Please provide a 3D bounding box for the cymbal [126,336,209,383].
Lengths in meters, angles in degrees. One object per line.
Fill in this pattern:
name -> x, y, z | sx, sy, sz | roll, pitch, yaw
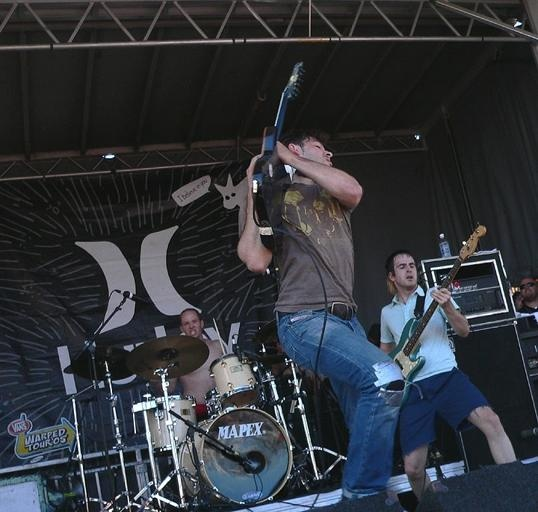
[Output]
cymbal -> -0.822, 0.771, 4.435 | 0.557, 0.439, 0.504 | 2, -3, -32

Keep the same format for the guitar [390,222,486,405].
guitar -> 0.921, 0.383, 3.244 | 0.188, 1.333, 0.478 | 9, 33, -11

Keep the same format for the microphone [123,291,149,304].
microphone -> -1.240, 0.386, 5.133 | 0.334, 0.074, 0.091 | 22, 16, 33

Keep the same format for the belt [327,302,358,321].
belt -> 0.296, 0.219, 2.207 | 0.068, 0.038, 0.094 | 13, -3, -29

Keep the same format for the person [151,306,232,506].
person -> -0.675, 1.116, 5.210 | 0.514, 1.265, 0.459 | 1, -5, -16

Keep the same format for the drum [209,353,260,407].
drum -> -0.254, 0.949, 4.333 | 0.311, 0.456, 0.305 | 0, -3, 0
